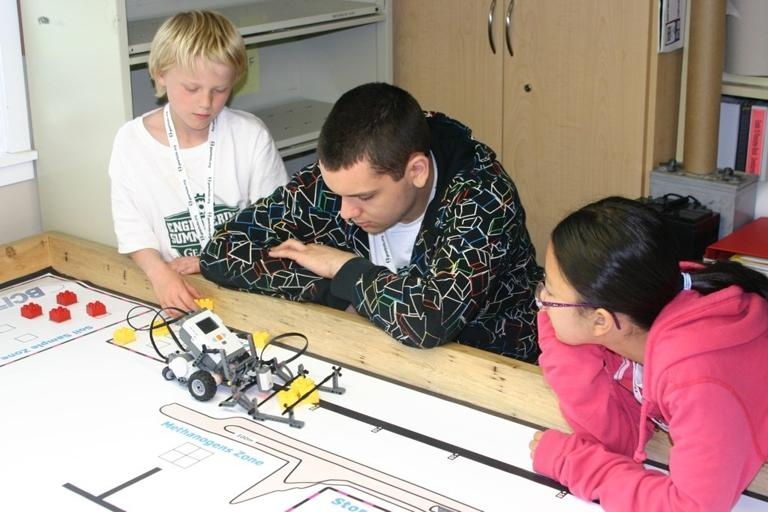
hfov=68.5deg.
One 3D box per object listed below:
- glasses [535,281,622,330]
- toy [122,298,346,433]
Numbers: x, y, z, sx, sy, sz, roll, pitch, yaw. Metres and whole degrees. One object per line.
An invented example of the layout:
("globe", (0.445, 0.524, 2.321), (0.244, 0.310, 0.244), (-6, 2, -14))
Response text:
("glasses", (0.388, 0.089, 1.166), (0.115, 0.035, 0.088), (19, 29, 29))
("toy", (-0.378, 0.198, 1.404), (0.548, 0.179, 0.251), (18, 30, 26))
